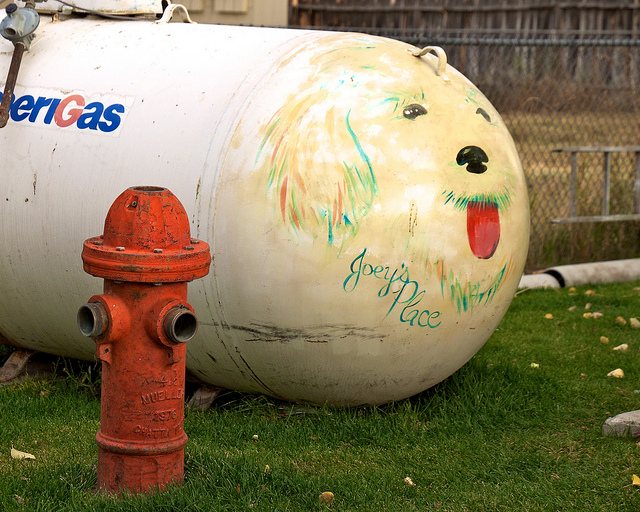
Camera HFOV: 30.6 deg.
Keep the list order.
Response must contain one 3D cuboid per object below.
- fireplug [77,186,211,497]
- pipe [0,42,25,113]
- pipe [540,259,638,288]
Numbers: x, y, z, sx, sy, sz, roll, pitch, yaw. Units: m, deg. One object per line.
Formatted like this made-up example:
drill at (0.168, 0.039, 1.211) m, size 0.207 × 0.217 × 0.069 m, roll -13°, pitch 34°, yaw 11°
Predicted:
fireplug at (-0.860, 0.416, 5.676) m, size 0.624 × 1.489 × 0.260 m, roll 1°, pitch 2°, yaw -6°
pipe at (-1.754, -0.987, 6.597) m, size 0.079 × 0.461 × 0.073 m, roll 7°, pitch -9°, yaw 1°
pipe at (2.346, 0.153, 9.733) m, size 0.821 × 0.219 × 0.352 m, roll 1°, pitch 2°, yaw -20°
